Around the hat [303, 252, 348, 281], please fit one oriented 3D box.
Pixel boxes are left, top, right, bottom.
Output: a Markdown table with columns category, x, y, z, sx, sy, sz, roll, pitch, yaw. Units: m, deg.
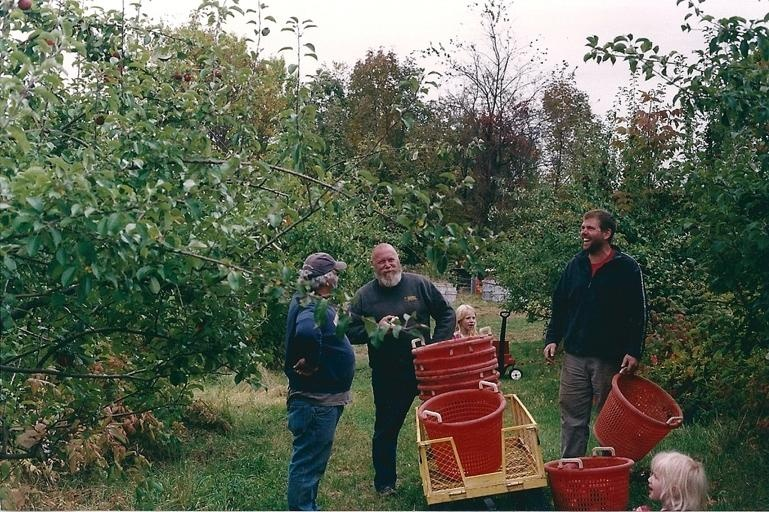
| category | x | y | z | sx | sy | sz | roll | pitch | yaw |
| --- | --- | --- | --- | --- | --- | --- | --- | --- | --- |
| hat | -0.551 | 0.088 | 6.914 | 0.331 | 0.178 | 0.224 | -9 | 12 | -41 |

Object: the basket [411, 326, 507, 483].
| category | x | y | z | sx | sy | sz | roll | pitch | yaw |
| --- | --- | --- | --- | --- | --- | --- | --- | --- | --- |
| basket | 0.662 | 1.365 | 6.962 | 0.800 | 1.268 | 0.689 | 0 | -1 | 3 |

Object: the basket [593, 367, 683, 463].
| category | x | y | z | sx | sy | sz | roll | pitch | yaw |
| --- | --- | --- | --- | --- | --- | --- | --- | --- | --- |
| basket | 2.368 | 1.501 | 7.220 | 0.727 | 0.804 | 0.662 | 1 | -2 | -8 |

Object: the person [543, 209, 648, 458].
| category | x | y | z | sx | sy | sz | roll | pitch | yaw |
| --- | --- | --- | --- | --- | --- | --- | --- | --- | --- |
| person | 2.074 | 0.890 | 7.718 | 0.865 | 2.766 | 0.619 | 3 | 20 | 18 |
